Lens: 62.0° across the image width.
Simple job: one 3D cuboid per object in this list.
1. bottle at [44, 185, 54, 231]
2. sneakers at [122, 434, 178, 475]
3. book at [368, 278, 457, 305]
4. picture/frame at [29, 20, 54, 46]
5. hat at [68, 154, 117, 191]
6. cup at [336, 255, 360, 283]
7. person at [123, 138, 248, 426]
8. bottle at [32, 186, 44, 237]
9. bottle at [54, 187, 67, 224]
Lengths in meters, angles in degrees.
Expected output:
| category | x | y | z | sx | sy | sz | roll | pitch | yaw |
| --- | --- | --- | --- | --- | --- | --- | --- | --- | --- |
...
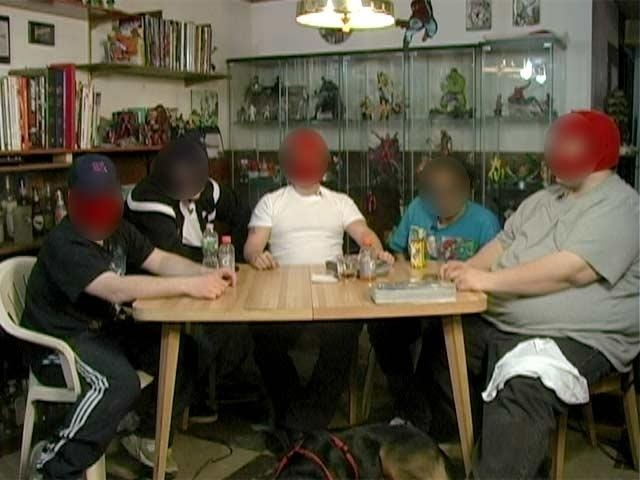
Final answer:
| category | x | y | z | sx | sy | sz | roll | pitch | yaw |
| --- | --- | --- | --- | --- | --- | --- | --- | --- | --- |
| bottle | -1.730 | -0.199 | 3.455 | 0.055 | 0.315 | 0.060 | -3 | -12 | -1 |
| sneakers | -0.832 | 1.053 | 2.658 | 0.265 | 0.130 | 0.172 | 16 | 15 | 18 |
| book | 0.386 | 0.219 | 2.228 | 0.350 | 0.069 | 0.095 | -1 | 9 | -1 |
| picture/frame | -1.846 | -1.376 | 3.541 | 0.017 | 0.138 | 0.186 | 3 | 8 | 23 |
| hat | -0.991 | -0.292 | 2.337 | 0.132 | 0.116 | 0.194 | -3 | 13 | -15 |
| cup | 0.133 | 0.139 | 2.493 | 0.089 | 0.112 | 0.101 | -2 | 3 | 21 |
| person | -0.804 | 0.271 | 3.404 | 0.754 | 1.777 | 0.689 | 3 | 11 | 28 |
| bottle | -1.752 | -0.162 | 3.334 | 0.067 | 0.384 | 0.068 | -7 | -10 | -1 |
| bottle | -1.619 | -0.216 | 3.341 | 0.062 | 0.249 | 0.085 | -3 | -16 | -19 |
